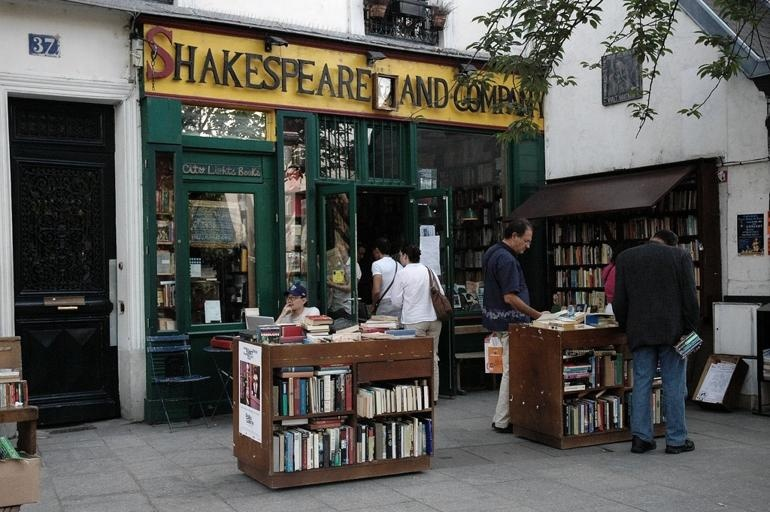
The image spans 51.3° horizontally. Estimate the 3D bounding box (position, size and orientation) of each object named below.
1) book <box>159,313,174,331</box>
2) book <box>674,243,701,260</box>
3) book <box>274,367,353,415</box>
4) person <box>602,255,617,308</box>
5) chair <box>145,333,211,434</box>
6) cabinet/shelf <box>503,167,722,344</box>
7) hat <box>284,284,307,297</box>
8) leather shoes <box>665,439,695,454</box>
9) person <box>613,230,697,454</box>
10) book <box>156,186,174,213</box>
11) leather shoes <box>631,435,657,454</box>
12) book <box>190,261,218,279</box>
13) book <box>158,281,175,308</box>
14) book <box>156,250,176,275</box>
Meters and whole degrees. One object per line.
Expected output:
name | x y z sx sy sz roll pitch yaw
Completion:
book | -3.018 0.942 11.125 0.205 0.206 0.202 1 -4 -29
book | 4.018 -0.054 10.656 0.078 0.218 0.222 -4 7 -30
book | -0.815 1.327 8.851 0.733 0.468 0.492 1 -3 -23
person | 3.238 0.370 11.609 0.223 0.776 0.558 3 -2 5
chair | -2.853 1.698 11.000 0.758 1.224 0.424 -3 6 -18
cabinet/shelf | 3.566 0.140 12.871 1.286 3.037 3.293 -4 2 -31
hat | -1.084 0.481 10.127 0.234 0.134 0.164 22 -7 -41
leather shoes | 3.479 2.278 9.500 0.348 0.168 0.149 -7 7 -28
person | 3.171 1.072 9.469 0.938 2.494 0.375 1 5 17
book | -3.058 -0.767 11.185 0.255 0.367 0.363 -1 -1 31
leather shoes | 3.079 2.254 9.567 0.354 0.156 0.133 -2 2 -43
book | -2.584 0.193 11.400 0.368 0.255 0.045 -4 6 -25
book | -3.001 0.521 11.233 0.271 0.388 0.390 0 0 -5
book | -3.046 0.133 11.227 0.374 0.374 0.264 2 -5 -40
